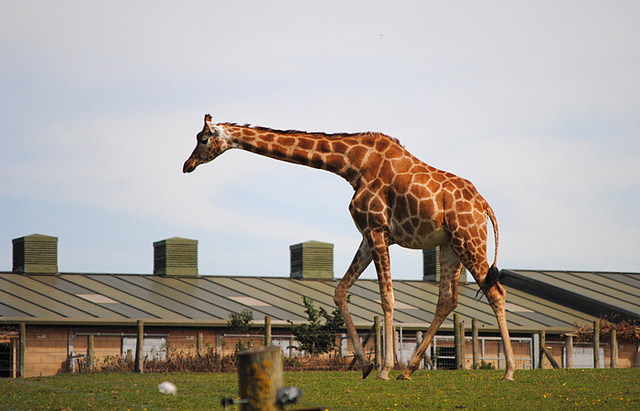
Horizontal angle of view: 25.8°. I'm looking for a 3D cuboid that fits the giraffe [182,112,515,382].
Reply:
[{"bbox_3d":[1.169,1.549,52.383,12.664,9.424,3.158,2,-2,2],"label":"giraffe"}]
